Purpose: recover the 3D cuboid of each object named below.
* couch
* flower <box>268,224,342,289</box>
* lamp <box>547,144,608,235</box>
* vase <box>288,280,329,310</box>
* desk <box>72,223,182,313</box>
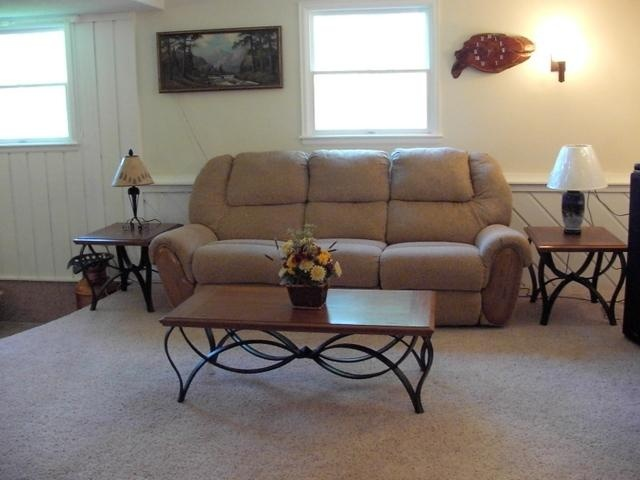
[{"bbox_3d":[0.187,-0.078,4.740,3.104,1.268,1.097,1,15,12],"label":"couch"},{"bbox_3d":[-0.059,0.112,3.540,0.408,0.342,0.486,3,-6,4],"label":"flower"},{"bbox_3d":[2.059,-0.401,4.441,0.420,0.694,0.226,5,18,24],"label":"lamp"},{"bbox_3d":[-0.069,0.339,3.326,0.191,0.090,0.150,1,1,8],"label":"vase"},{"bbox_3d":[-1.733,0.238,5.057,0.868,0.616,0.904,-6,12,-27],"label":"desk"}]
